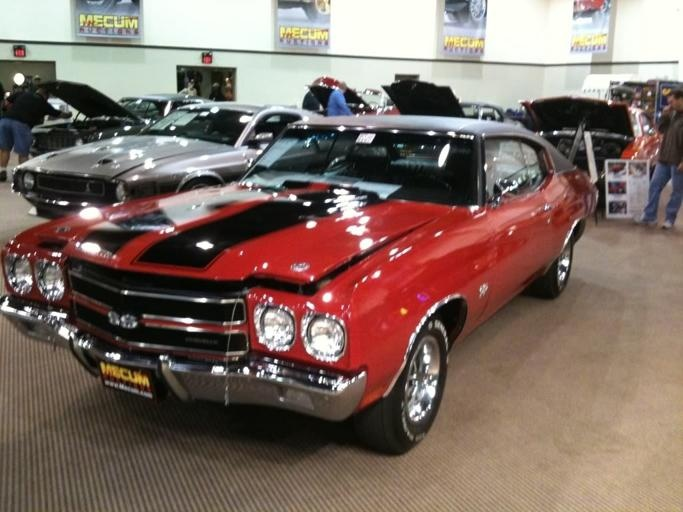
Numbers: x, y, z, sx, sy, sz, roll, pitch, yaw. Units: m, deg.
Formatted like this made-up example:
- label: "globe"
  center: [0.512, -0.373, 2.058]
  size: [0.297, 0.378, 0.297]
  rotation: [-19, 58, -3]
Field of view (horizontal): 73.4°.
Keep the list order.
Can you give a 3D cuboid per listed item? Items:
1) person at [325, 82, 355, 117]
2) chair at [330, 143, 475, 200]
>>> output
- label: "person"
  center: [-0.045, -3.415, 10.132]
  size: [0.452, 0.942, 0.555]
  rotation: [7, -7, -16]
- label: "chair"
  center: [0.573, -0.590, 3.230]
  size: [1.024, 0.404, 0.392]
  rotation: [7, 5, 20]
